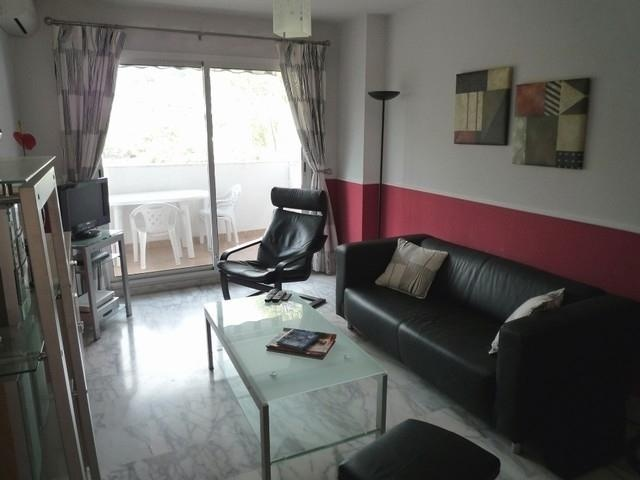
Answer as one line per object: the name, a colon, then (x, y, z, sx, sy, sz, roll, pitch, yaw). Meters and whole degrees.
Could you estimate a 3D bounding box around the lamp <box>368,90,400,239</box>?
lamp: (0.638, -0.732, 4.708, 0.289, 1.521, 0.535, 0, 13, 7)

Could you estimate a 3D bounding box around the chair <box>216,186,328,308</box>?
chair: (-0.444, 0.109, 4.417, 0.894, 1.172, 0.842, -10, 17, -44)

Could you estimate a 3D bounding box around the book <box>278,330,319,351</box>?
book: (-0.130, 0.612, 2.907, 0.124, 0.032, 0.127, 7, 14, 24)

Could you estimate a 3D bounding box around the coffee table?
coffee table: (-0.172, 0.676, 2.869, 0.704, 0.622, 1.413, -5, 15, -24)

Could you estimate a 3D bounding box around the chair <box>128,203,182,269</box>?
chair: (-1.858, -0.081, 5.311, 0.541, 0.703, 0.462, -7, 14, -23)
